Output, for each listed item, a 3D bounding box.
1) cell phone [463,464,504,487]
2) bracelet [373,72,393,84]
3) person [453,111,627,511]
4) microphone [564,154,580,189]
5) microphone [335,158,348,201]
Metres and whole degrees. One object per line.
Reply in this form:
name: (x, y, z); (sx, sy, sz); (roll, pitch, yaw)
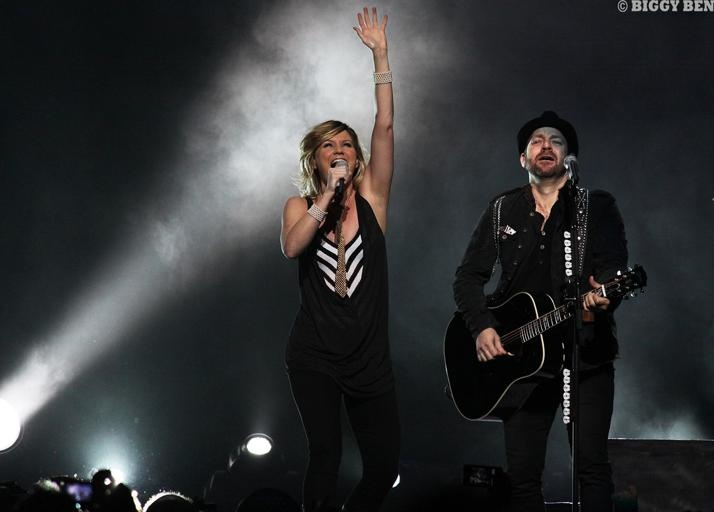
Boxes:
cell phone: (0.963, 1.629, 5.347); (0.253, 0.160, 0.175); (3, -5, 11)
bracelet: (0.194, -1.209, 4.853); (0.092, 0.062, 0.077); (-1, -3, -2)
person: (1.383, 0.300, 4.963); (0.931, 2.724, 1.107); (31, -35, -35)
microphone: (1.422, -0.564, 4.636); (0.082, 0.287, 0.181); (0, -30, 15)
microphone: (-0.095, -0.487, 4.679); (0.066, 0.266, 0.076); (5, -63, 3)
